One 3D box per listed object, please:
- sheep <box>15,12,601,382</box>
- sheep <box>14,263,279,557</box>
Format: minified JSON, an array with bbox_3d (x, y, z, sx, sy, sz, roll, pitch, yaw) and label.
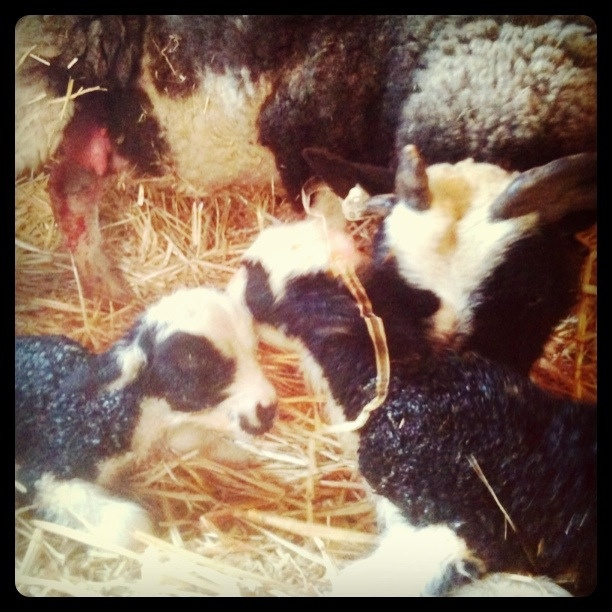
[{"bbox_3d":[-0.140,-0.320,2.400,1.361,0.372,0.847,2,70,-2],"label":"sheep"},{"bbox_3d":[-0.492,0.226,2.510,0.906,0.399,0.634,12,106,27],"label":"sheep"}]
